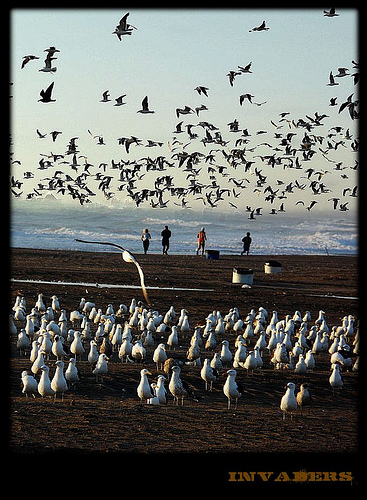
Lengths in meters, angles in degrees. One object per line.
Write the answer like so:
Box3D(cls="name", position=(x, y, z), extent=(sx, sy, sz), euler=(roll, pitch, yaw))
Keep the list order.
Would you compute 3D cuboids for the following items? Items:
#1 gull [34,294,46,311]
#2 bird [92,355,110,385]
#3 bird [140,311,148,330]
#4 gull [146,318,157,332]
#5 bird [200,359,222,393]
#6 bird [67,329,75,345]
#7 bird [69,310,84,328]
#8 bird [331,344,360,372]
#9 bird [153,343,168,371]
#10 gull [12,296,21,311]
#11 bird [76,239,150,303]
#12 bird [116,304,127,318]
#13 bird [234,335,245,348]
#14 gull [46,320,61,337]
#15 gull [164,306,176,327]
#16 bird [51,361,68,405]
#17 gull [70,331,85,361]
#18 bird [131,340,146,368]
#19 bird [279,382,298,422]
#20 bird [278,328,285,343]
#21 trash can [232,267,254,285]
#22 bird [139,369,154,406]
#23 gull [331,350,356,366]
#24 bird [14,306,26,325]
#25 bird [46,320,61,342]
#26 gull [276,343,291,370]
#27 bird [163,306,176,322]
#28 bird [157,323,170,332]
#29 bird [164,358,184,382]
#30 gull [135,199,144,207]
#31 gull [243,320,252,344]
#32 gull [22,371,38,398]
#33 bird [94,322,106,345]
Box3D(cls="gull", position=(-3.310, 1.220, 19.191), extent=(0.306, 0.447, 0.291), euler=(9, -2, -9))
Box3D(cls="bird", position=(-1.261, 1.894, 13.231), extent=(0.216, 0.443, 0.426), euler=(9, -25, -38))
Box3D(cls="bird", position=(-0.833, 1.511, 17.527), extent=(0.151, 0.437, 0.349), euler=(2, 10, -2))
Box3D(cls="gull", position=(-0.671, 1.555, 17.149), extent=(0.141, 0.252, 0.232), euler=(1, 39, 9))
Box3D(cls="bird", position=(0.434, 1.939, 13.119), extent=(0.257, 0.536, 0.743), euler=(2, 0, 16))
Box3D(cls="bird", position=(-2.055, 1.599, 15.192), extent=(0.213, 0.317, 0.716), euler=(1, -5, -6))
Box3D(cls="bird", position=(-2.300, 1.474, 17.955), extent=(0.216, 0.379, 0.362), euler=(1, -3, 5))
Box3D(cls="bird", position=(2.845, 1.908, 14.858), extent=(0.222, 0.471, 0.770), euler=(1, -1, -3))
Box3D(cls="bird", position=(-0.391, 1.786, 14.004), extent=(0.226, 0.427, 0.449), euler=(2, 10, -2))
Box3D(cls="gull", position=(-3.802, 1.229, 18.999), extent=(0.136, 0.362, 0.210), euler=(6, 5, -20))
Box3D(cls="bird", position=(-0.580, 0.270, 9.788), extent=(1.037, 0.837, 0.751), euler=(-3, 10, 23))
Box3D(cls="bird", position=(-1.455, 1.436, 19.545), extent=(0.242, 0.260, 0.529), euler=(2, 10, -5))
Box3D(cls="bird", position=(1.039, 1.694, 15.452), extent=(0.206, 0.212, 0.210), euler=(2, -2, -19))
Box3D(cls="gull", position=(-2.404, 1.457, 15.448), extent=(0.218, 0.304, 0.293), euler=(-2, 4, -28))
Box3D(cls="gull", position=(-0.310, 1.539, 19.042), extent=(0.321, 0.606, 1.011), euler=(-1, 1, 1))
Box3D(cls="bird", position=(-1.809, 1.932, 12.149), extent=(0.251, 0.595, 0.612), euler=(3, -12, -3))
Box3D(cls="gull", position=(-1.897, 1.650, 14.896), extent=(0.248, 0.582, 1.018), euler=(1, 10, -6))
Box3D(cls="bird", position=(-0.779, 1.793, 14.357), extent=(0.238, 0.381, 0.598), euler=(2, 10, -4))
Box3D(cls="bird", position=(1.493, 2.139, 11.733), extent=(0.237, 0.515, 0.747), euler=(4, -12, 8))
Box3D(cls="bird", position=(1.903, 1.657, 16.060), extent=(0.159, 0.299, 0.192), euler=(8, -4, 5))
Box3D(cls="trash can", position=(2.010, 0.867, 27.777), extent=(0.539, 0.431, 0.559), euler=(2, -3, -1))
Box3D(cls="bird", position=(-0.527, 1.949, 11.964), extent=(0.213, 0.520, 0.324), euler=(2, 10, -3))
Box3D(cls="gull", position=(2.833, 1.894, 14.734), extent=(0.467, 0.252, 0.292), euler=(-4, 12, -35))
Box3D(cls="bird", position=(-3.490, 1.357, 17.703), extent=(0.194, 0.242, 0.308), euler=(1, 4, -3))
Box3D(cls="bird", position=(-2.455, 1.490, 15.398), extent=(0.279, 0.442, 0.238), euler=(4, 2, 2))
Box3D(cls="gull", position=(1.725, 1.865, 14.435), extent=(0.224, 0.434, 0.183), euler=(0, 10, -13))
Box3D(cls="bird", position=(-0.325, 1.507, 19.410), extent=(0.312, 0.400, 0.562), euler=(1, -2, -3))
Box3D(cls="bird", position=(-0.429, 1.609, 17.222), extent=(0.177, 0.116, 0.261), euler=(1, 0, 0))
Box3D(cls="bird", position=(-0.167, 1.809, 13.017), extent=(0.195, 0.250, 0.360), euler=(1, -9, -17))
Box3D(cls="gull", position=(-2.001, -2.161, 37.456), extent=(0.240, 0.150, 0.410), euler=(27, -11, -32))
Box3D(cls="gull", position=(1.299, 1.623, 16.745), extent=(0.160, 0.393, 0.262), euler=(3, 10, 1))
Box3D(cls="gull", position=(-2.221, 1.925, 11.982), extent=(0.173, 0.324, 0.305), euler=(-1, 7, -24))
Box3D(cls="bird", position=(-1.629, 1.581, 15.758), extent=(0.201, 0.339, 0.320), euler=(0, 45, -8))
